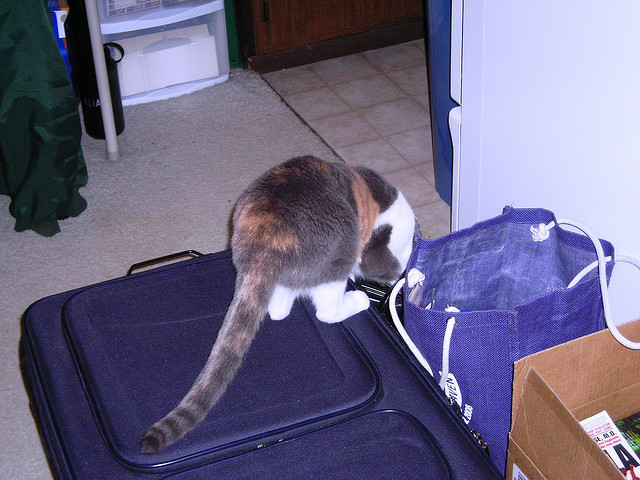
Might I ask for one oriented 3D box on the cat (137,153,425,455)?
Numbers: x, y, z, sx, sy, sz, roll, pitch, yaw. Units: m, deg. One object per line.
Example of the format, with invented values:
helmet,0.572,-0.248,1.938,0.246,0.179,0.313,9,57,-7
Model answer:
cat,-0.095,0.068,1.332,0.259,0.389,0.950,16,35,38
